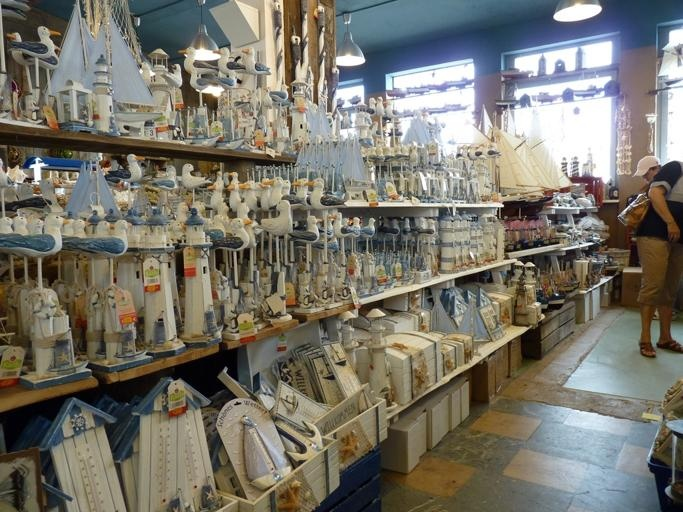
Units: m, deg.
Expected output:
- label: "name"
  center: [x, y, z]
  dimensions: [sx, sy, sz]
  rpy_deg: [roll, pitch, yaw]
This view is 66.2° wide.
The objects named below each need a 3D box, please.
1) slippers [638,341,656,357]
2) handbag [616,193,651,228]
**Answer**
- label: "slippers"
  center: [3.249, 1.004, 5.539]
  dimensions: [0.085, 0.070, 0.231]
  rpy_deg: [-5, 27, 13]
- label: "handbag"
  center: [3.270, -0.527, 5.712]
  dimensions: [0.154, 0.451, 0.324]
  rpy_deg: [28, 0, -11]
